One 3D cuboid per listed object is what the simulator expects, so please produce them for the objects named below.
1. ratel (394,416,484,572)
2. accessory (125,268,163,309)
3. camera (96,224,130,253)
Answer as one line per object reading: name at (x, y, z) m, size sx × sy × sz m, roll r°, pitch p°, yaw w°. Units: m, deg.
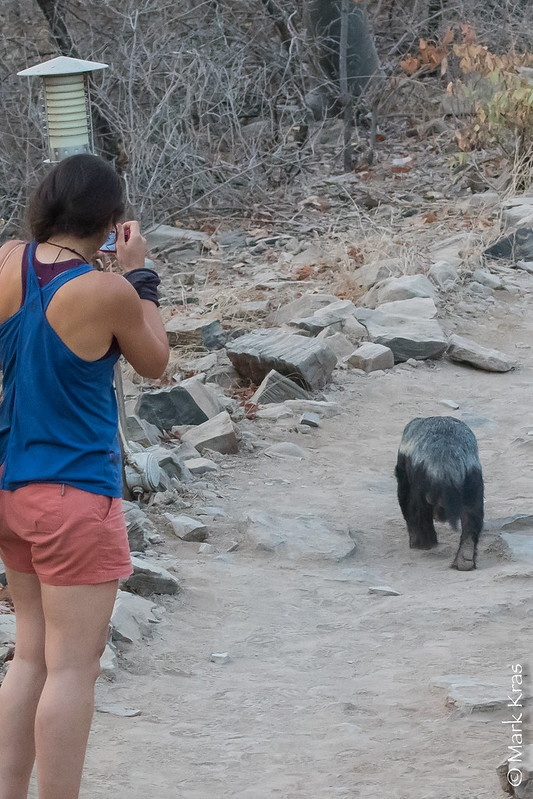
ratel at (0.829, 0.434, 4.556) m, size 0.311 × 0.692 × 0.514 m, roll -2°, pitch 2°, yaw -8°
accessory at (-0.315, -0.294, 2.498) m, size 0.132 × 0.080 × 0.088 m, roll 4°, pitch 2°, yaw 0°
camera at (-0.419, -0.432, 2.624) m, size 0.085 × 0.068 × 0.021 m, roll -1°, pitch -24°, yaw 26°
